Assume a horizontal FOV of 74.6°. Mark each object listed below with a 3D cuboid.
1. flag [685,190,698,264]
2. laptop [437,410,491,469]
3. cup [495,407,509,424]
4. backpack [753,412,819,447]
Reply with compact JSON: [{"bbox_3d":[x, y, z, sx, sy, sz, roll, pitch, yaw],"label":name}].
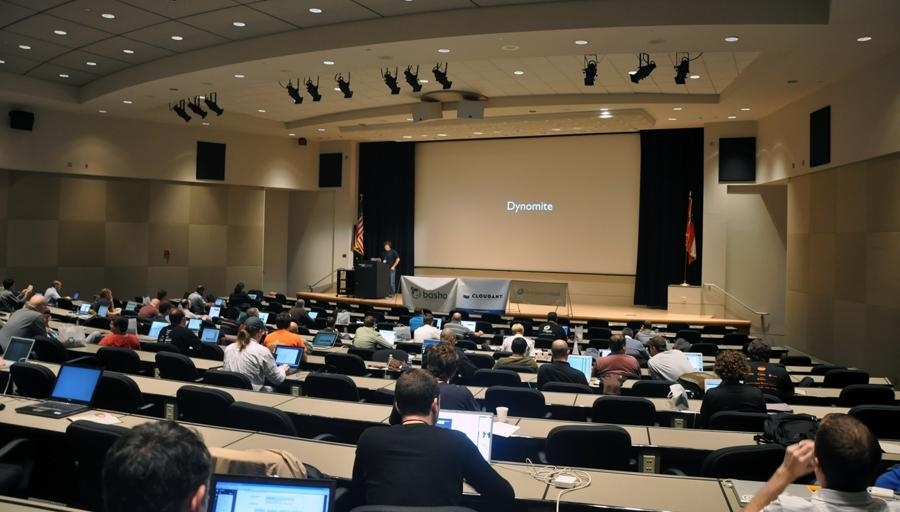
[{"bbox_3d":[8.091,-0.943,19.620,0.410,2.407,0.811,2,-5,22],"label":"flag"},{"bbox_3d":[0.203,2.219,7.036,0.786,0.481,0.586,1,-6,17],"label":"laptop"},{"bbox_3d":[0.676,2.047,7.651,0.230,0.166,0.224,1,-8,0],"label":"cup"},{"bbox_3d":[3.910,1.991,6.710,0.584,0.199,0.454,-1,4,-26],"label":"backpack"}]
